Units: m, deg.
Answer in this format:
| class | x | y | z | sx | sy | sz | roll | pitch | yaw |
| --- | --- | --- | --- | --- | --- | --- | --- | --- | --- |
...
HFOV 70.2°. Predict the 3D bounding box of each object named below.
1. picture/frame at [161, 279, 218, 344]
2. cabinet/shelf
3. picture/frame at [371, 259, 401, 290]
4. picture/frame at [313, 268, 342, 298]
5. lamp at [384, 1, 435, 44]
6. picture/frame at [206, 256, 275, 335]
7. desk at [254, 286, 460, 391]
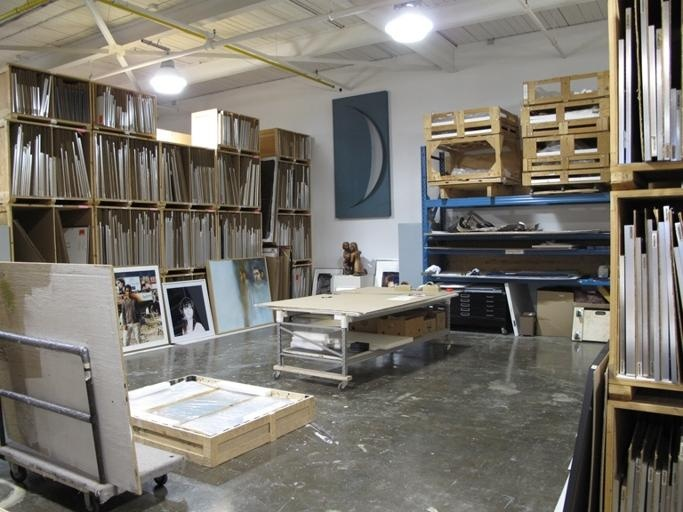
| class | x | y | z | sx | sy | sz | roll | pitch | yaw |
| --- | --- | --- | --- | --- | --- | --- | --- | --- | --- |
| picture/frame | -2.266 | 0.825 | 7.118 | 0.087 | 1.079 | 0.942 | -24 | -17 | 38 |
| cabinet/shelf | 2.633 | -0.157 | 7.131 | 3.153 | 2.847 | 0.896 | 0 | 0 | 29 |
| picture/frame | 0.832 | 0.291 | 8.944 | 0.570 | 0.463 | 0.307 | 1 | 5 | 26 |
| picture/frame | -0.253 | 0.475 | 8.845 | 0.549 | 0.603 | 0.023 | -2 | -12 | 28 |
| lamp | 0.675 | -2.434 | 4.989 | 0.451 | 0.312 | 0.437 | -1 | 4 | -1 |
| picture/frame | -1.667 | 0.643 | 7.702 | 0.124 | 1.023 | 1.243 | -14 | -9 | 32 |
| desk | 0.318 | 0.792 | 5.594 | 1.143 | 0.629 | 1.869 | 0 | 1 | 37 |
